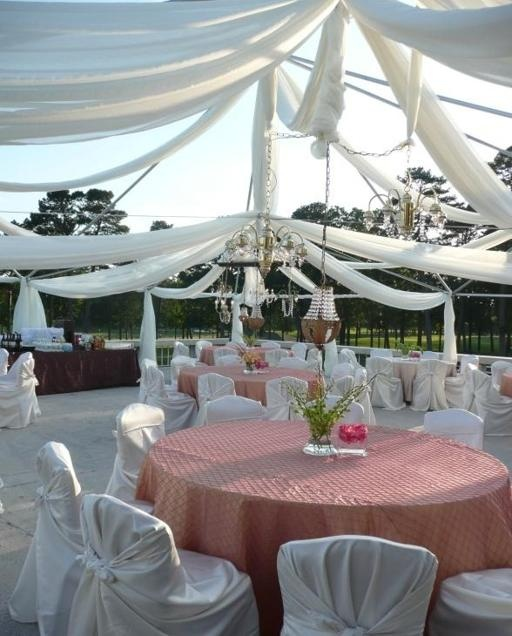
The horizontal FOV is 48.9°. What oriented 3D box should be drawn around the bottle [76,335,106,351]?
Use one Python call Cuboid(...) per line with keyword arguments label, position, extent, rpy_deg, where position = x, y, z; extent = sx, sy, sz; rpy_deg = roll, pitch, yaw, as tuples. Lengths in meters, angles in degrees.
Cuboid(label="bottle", position=(-3.130, 0.482, 10.943), extent=(0.407, 0.197, 0.590), rpy_deg=(-1, -5, 6))
